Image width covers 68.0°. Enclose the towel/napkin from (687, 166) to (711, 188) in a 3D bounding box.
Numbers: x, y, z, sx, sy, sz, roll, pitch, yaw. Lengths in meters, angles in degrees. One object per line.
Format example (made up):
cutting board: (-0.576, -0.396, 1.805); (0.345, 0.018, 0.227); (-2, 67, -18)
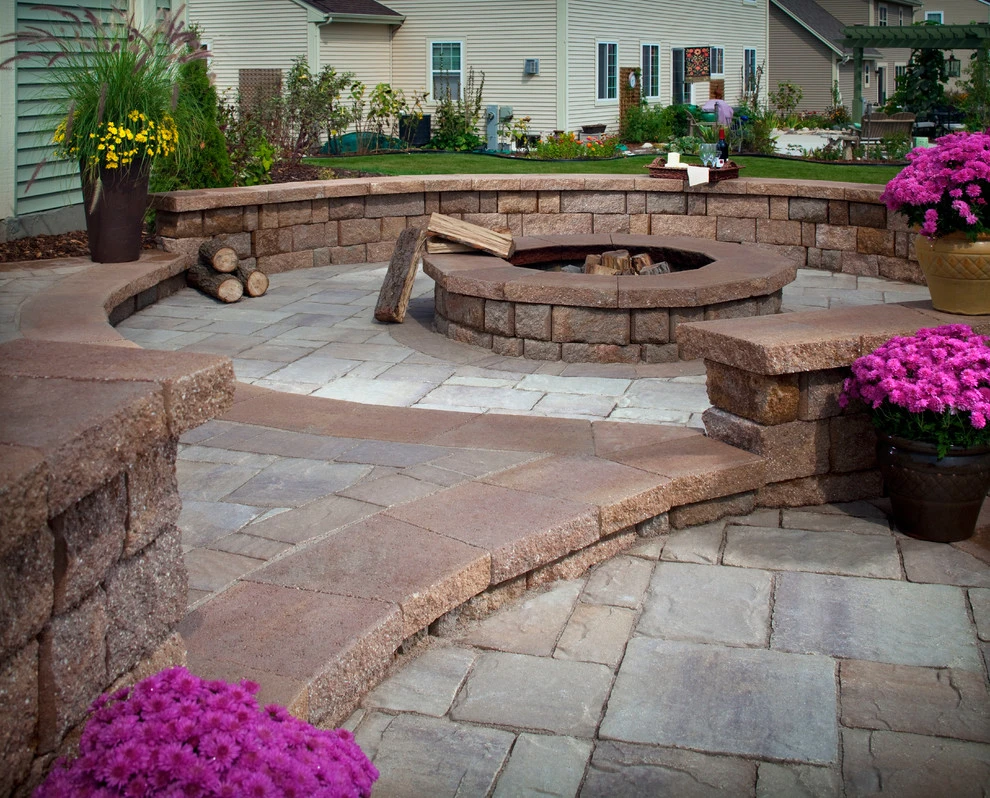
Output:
towel/napkin: (2.844, -3.129, 10.250); (0.298, 0.263, 0.191); (2, 18, 12)
